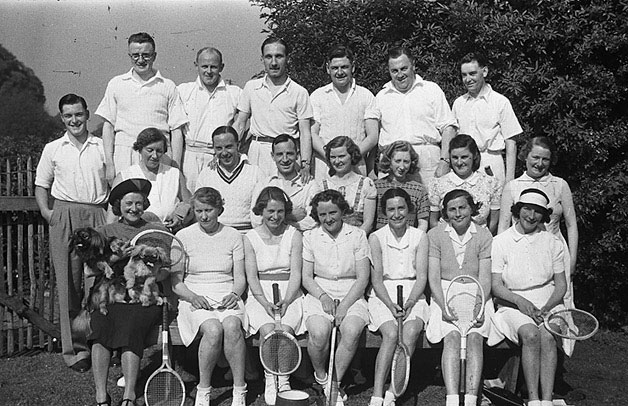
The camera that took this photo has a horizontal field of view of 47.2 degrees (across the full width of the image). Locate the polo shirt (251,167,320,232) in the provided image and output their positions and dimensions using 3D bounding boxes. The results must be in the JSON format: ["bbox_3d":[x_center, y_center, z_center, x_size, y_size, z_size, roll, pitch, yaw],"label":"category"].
[{"bbox_3d":[-0.446,-0.025,10.894,1.192,1.075,0.662,6,-1,-17],"label":"polo shirt"}]

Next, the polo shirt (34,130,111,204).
[{"bbox_3d":[-3.679,-0.562,11.155,1.305,1.110,0.684,-2,3,-26],"label":"polo shirt"}]

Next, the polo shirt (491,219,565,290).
[{"bbox_3d":[3.031,0.754,10.455,1.388,1.180,0.716,-1,2,2],"label":"polo shirt"}]

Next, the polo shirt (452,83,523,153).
[{"bbox_3d":[2.705,-1.323,11.567,1.231,1.166,0.569,8,29,36],"label":"polo shirt"}]

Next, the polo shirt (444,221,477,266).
[{"bbox_3d":[2.099,0.428,10.145,0.405,0.221,0.505,12,27,-3],"label":"polo shirt"}]

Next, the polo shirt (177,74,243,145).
[{"bbox_3d":[-1.700,-1.492,11.692,1.102,1.078,0.613,3,16,-14],"label":"polo shirt"}]

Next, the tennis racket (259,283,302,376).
[{"bbox_3d":[-0.499,1.694,9.424,0.472,1.187,0.665,-3,4,-21],"label":"tennis racket"}]

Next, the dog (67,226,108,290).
[{"bbox_3d":[-3.066,0.638,9.886,0.477,0.783,0.685,7,18,9],"label":"dog"}]

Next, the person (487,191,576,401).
[{"bbox_3d":[2.971,1.230,10.016,1.002,2.769,1.104,1,4,35],"label":"person"}]

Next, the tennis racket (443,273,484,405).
[{"bbox_3d":[2.008,1.879,9.653,0.546,0.095,1.968,-3,48,9],"label":"tennis racket"}]

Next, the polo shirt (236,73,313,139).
[{"bbox_3d":[-0.643,-1.535,11.500,1.246,1.052,0.554,9,17,16],"label":"polo shirt"}]

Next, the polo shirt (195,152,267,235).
[{"bbox_3d":[-1.327,-0.175,11.159,1.396,1.334,0.771,1,-2,-18],"label":"polo shirt"}]

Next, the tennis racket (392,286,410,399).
[{"bbox_3d":[1.132,1.986,9.358,0.223,0.918,0.593,-1,3,7],"label":"tennis racket"}]

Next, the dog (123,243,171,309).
[{"bbox_3d":[-2.381,1.034,10.199,0.590,0.860,1.708,10,-19,-12],"label":"dog"}]

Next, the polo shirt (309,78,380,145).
[{"bbox_3d":[0.441,-1.438,11.535,1.297,1.116,0.515,1,1,-1],"label":"polo shirt"}]
